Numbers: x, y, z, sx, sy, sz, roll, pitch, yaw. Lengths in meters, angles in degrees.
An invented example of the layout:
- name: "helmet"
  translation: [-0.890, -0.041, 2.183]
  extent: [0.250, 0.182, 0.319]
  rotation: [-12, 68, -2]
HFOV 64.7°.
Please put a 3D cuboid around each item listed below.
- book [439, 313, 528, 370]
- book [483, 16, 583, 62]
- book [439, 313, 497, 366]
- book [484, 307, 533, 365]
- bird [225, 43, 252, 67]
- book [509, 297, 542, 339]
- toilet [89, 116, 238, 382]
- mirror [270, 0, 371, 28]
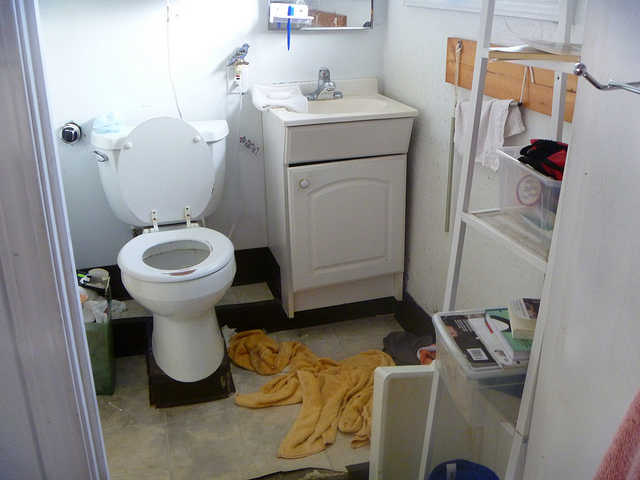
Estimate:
- name: "book"
  translation: [0.339, 0.205, 1.077]
  extent: [0.088, 0.013, 0.106]
  rotation: [-6, 42, -8]
- name: "book"
  translation: [0.452, -0.394, 1.032]
  extent: [0.214, 0.045, 0.181]
  rotation: [-1, 25, 5]
- name: "book"
  translation: [0.322, 0.203, 1.083]
  extent: [0.080, 0.022, 0.086]
  rotation: [-6, 38, -8]
- name: "book"
  translation: [0.401, 0.188, 1.057]
  extent: [0.073, 0.019, 0.081]
  rotation: [-5, 31, -6]
- name: "bird"
  translation: [-0.372, -0.861, 2.345]
  extent: [0.133, 0.123, 0.064]
  rotation: [-5, 28, -19]
- name: "book"
  translation: [0.430, 0.166, 1.069]
  extent: [0.072, 0.029, 0.080]
  rotation: [-5, 30, 11]
- name: "toilet"
  translation: [-0.651, 0.017, 2.200]
  extent: [0.564, 1.024, 0.795]
  rotation: [-6, 24, -17]
- name: "mirror"
  translation: [0.057, -1.072, 2.407]
  extent: [0.395, 0.125, 0.029]
  rotation: [-10, 23, -14]
